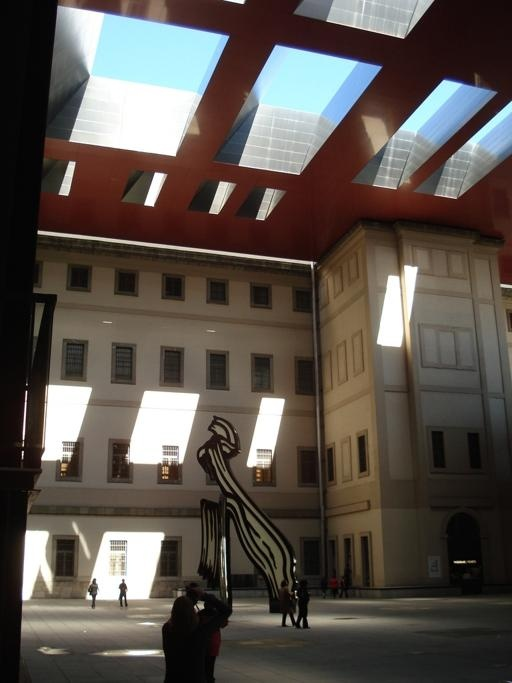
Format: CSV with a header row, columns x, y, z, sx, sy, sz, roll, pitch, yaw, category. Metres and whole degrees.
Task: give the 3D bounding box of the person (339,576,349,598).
x,y,z,sx,sy,sz,roll,pitch,yaw,category
4.100,11.348,26.184,0.401,0.902,1.420,-2,-18,8,person
